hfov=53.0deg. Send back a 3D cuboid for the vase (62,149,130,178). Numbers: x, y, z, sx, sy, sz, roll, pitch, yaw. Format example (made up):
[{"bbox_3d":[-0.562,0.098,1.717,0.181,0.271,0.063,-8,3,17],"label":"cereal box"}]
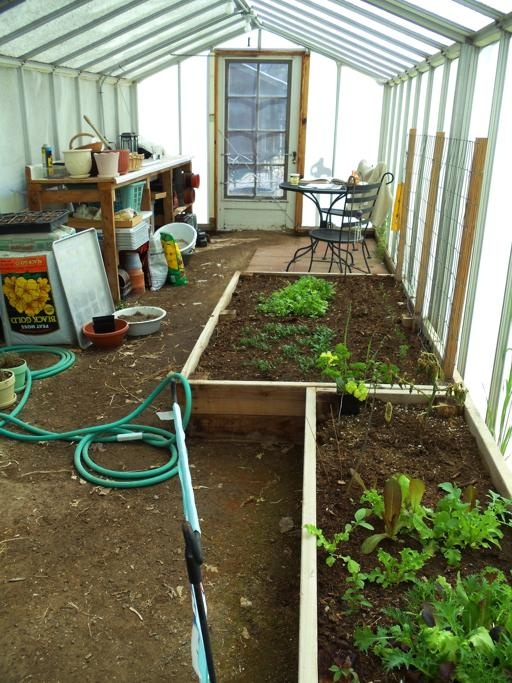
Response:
[{"bbox_3d":[-1.457,-1.553,4.544,0.410,0.163,0.297,-1,17,-3],"label":"vase"}]

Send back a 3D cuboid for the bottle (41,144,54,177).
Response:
[{"bbox_3d":[-1.833,-1.591,4.515,0.076,0.260,0.113,-7,22,-17],"label":"bottle"}]

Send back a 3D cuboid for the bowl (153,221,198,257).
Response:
[{"bbox_3d":[-0.903,-1.248,6.047,0.496,0.185,0.489,1,63,-1],"label":"bowl"}]

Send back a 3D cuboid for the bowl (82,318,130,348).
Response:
[{"bbox_3d":[-1.119,-0.052,3.901,0.354,0.175,0.327,0,20,0],"label":"bowl"}]

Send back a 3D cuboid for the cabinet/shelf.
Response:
[{"bbox_3d":[-1.331,-1.015,4.781,0.682,1.169,2.002,0,33,-1],"label":"cabinet/shelf"}]
